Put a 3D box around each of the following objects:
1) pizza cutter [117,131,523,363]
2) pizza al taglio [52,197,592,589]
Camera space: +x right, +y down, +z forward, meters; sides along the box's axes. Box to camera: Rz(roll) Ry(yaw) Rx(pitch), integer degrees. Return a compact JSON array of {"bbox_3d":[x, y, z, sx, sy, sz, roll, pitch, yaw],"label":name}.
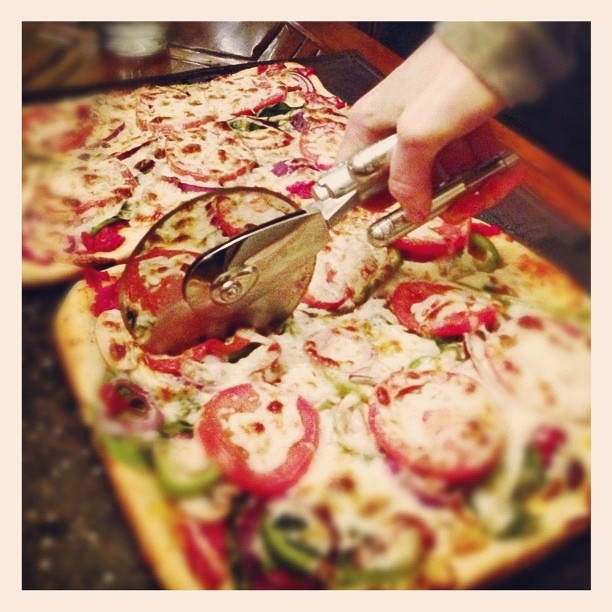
[{"bbox_3d":[0.002,-0.065,0.851,0.418,0.261,0.357,14,32,29],"label":"pizza cutter"},{"bbox_3d":[0.045,0.123,0.777,0.662,0.208,0.424,-1,49,-14],"label":"pizza al taglio"}]
